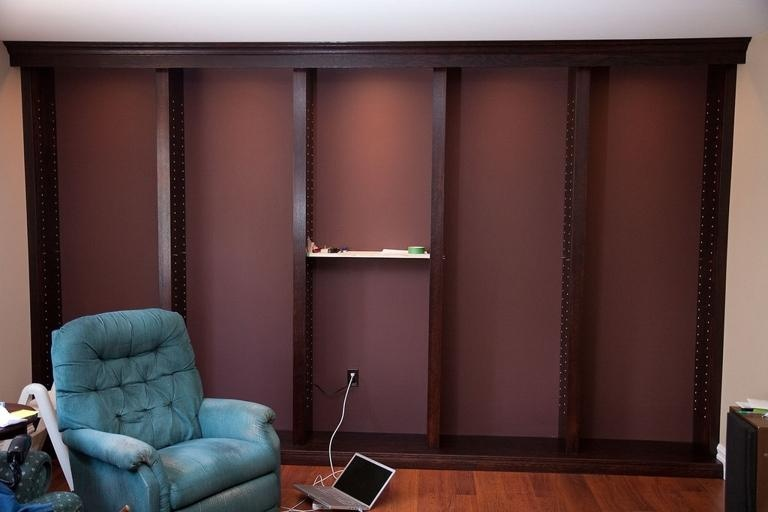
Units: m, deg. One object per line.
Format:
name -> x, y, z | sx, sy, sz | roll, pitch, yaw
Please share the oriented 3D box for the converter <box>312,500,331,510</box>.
converter -> -0.463, 1.821, 4.691 | 0.082, 0.022, 0.080 | 12, -5, -42
